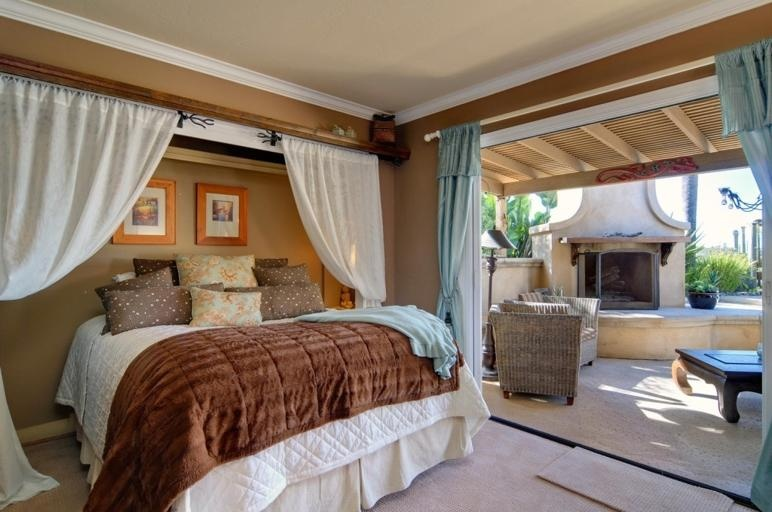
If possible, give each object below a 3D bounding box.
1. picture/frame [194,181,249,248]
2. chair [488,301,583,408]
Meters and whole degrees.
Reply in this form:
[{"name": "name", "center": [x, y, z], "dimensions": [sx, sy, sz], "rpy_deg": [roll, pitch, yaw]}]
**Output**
[{"name": "picture/frame", "center": [-1.868, -0.456, 5.618], "dimensions": [0.721, 0.886, 0.060], "rpy_deg": [-3, 5, -38]}, {"name": "chair", "center": [1.659, 1.119, 5.751], "dimensions": [0.999, 0.952, 0.885], "rpy_deg": [-2, -6, 17]}]
